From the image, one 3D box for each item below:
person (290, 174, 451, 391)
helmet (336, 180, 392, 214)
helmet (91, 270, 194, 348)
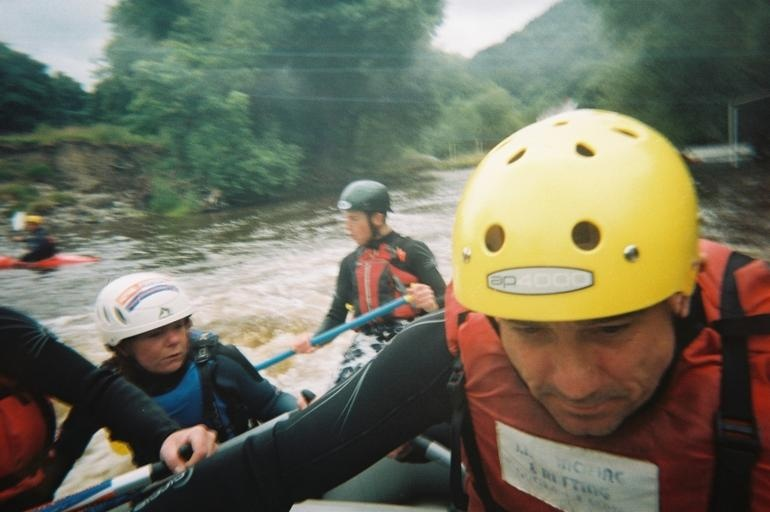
[{"bbox_3d":[-0.090,0.127,3.898,0.728,1.573,0.788,12,-28,-42],"label":"person"},{"bbox_3d":[-0.105,-0.380,4.183,0.373,0.184,0.257,4,19,-18],"label":"helmet"},{"bbox_3d":[-1.300,0.315,3.671,0.446,0.409,0.568,-17,11,-32],"label":"helmet"}]
